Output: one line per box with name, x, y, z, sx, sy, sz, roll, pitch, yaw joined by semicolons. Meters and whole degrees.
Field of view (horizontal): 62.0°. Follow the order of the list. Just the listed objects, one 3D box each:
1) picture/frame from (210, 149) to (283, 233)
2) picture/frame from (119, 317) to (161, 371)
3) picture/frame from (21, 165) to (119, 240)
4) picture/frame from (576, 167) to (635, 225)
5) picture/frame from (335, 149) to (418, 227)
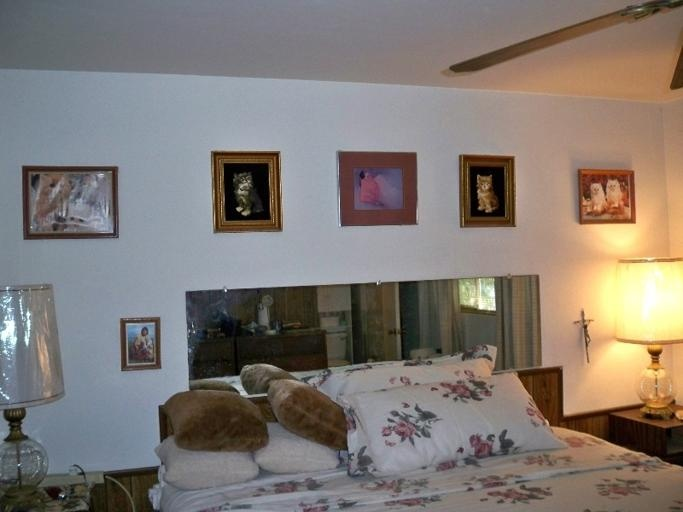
picture/frame;-0.587;-0.391;3.392;0.463;0.556;0.041;-1;2;-10
picture/frame;-1.168;0.499;3.270;0.291;0.409;0.033;0;-2;-15
picture/frame;-1.558;-0.304;3.217;0.392;0.348;0.031;-2;4;-10
picture/frame;1.834;-0.426;3.991;0.372;0.338;0.030;-3;3;-15
picture/frame;0.196;-0.430;3.569;0.458;0.426;0.047;0;1;-11
